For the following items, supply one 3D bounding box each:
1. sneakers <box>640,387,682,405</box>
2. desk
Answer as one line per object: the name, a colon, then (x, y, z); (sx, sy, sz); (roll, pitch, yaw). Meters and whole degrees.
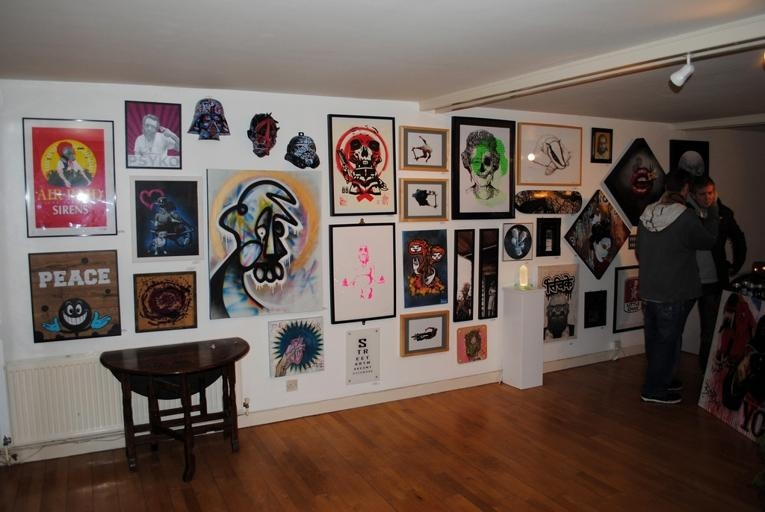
sneakers: (3.082, 1.565, 5.931); (0.468, 0.195, 0.179); (0, 8, 4)
desk: (-1.805, 1.429, 4.805); (1.217, 0.951, 0.929); (-2, 2, -17)
